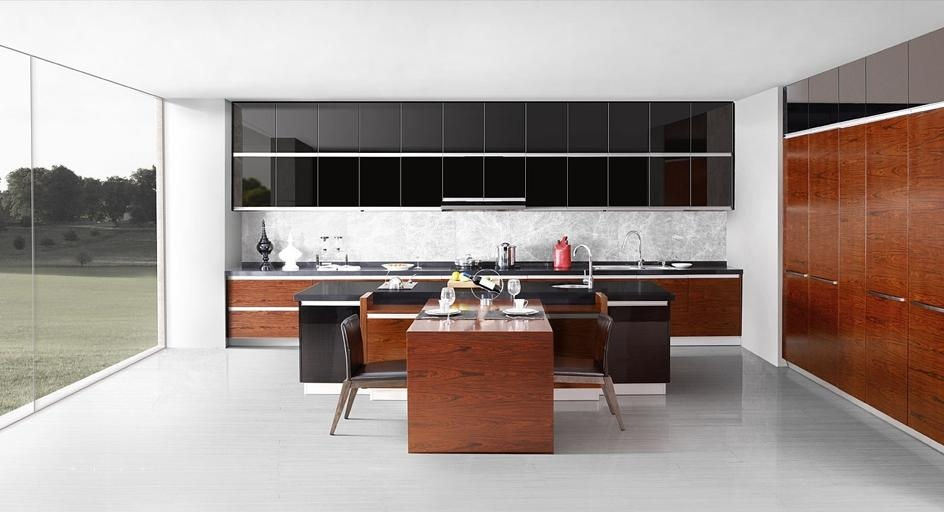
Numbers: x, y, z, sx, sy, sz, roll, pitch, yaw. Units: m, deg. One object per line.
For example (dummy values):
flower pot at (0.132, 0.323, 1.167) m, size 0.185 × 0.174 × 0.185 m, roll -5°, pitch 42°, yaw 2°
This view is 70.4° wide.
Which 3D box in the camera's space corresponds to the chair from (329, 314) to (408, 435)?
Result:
chair at (-1.318, 1.482, 8.338) m, size 1.054 × 1.458 × 0.480 m, roll -2°, pitch 5°, yaw 1°

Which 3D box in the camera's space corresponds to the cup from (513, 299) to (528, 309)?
cup at (0.605, 0.608, 8.536) m, size 0.161 × 0.091 × 0.114 m, roll 1°, pitch -2°, yaw 4°

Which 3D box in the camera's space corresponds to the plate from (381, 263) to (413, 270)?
plate at (-1.271, 0.184, 11.315) m, size 0.521 × 0.073 × 0.643 m, roll -2°, pitch 4°, yaw -4°

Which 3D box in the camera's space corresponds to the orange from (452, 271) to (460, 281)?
orange at (-0.233, 0.274, 9.590) m, size 0.114 × 0.095 × 0.122 m, roll 14°, pitch 43°, yaw -15°

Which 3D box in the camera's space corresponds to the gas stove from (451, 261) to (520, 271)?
gas stove at (0.222, 0.149, 11.315) m, size 1.212 × 0.157 × 0.598 m, roll -1°, pitch 5°, yaw 8°

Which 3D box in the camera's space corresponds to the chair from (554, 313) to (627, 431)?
chair at (1.474, 1.452, 8.618) m, size 0.855 × 1.442 × 0.969 m, roll -2°, pitch 5°, yaw 6°
